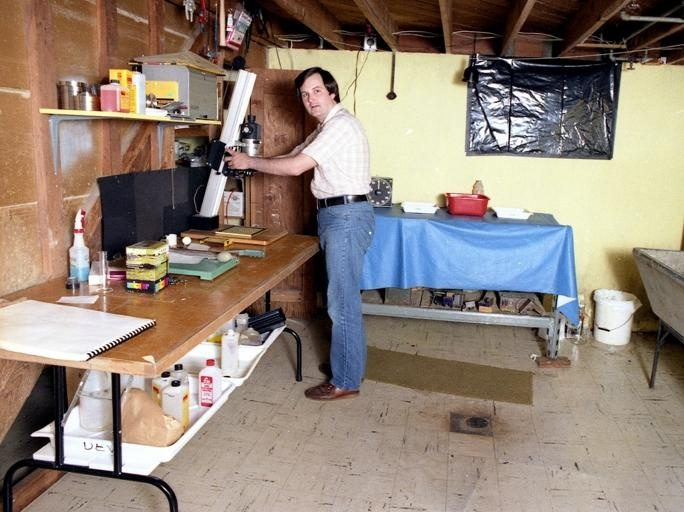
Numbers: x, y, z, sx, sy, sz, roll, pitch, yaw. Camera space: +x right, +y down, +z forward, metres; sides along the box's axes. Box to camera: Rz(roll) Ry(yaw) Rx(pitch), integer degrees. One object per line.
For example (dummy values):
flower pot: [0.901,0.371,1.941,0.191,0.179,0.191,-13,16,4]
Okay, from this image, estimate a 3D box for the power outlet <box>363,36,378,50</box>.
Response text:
power outlet: [0.247,-1.891,4.922,0.135,0.095,0.031,2,13,7]

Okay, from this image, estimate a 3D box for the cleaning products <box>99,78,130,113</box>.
cleaning products: [-1.078,-0.756,2.624,0.136,0.166,0.200,2,14,-1]

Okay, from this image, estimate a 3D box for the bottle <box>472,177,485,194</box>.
bottle: [1.183,-0.609,4.847,0.162,0.168,0.147,0,9,7]

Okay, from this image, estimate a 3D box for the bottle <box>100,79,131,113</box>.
bottle: [-1.076,-0.756,2.624,0.136,0.166,0.200,2,14,-1]

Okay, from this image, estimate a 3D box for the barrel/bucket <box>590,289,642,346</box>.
barrel/bucket: [2.241,0.517,4.598,0.435,0.370,0.378,4,13,21]

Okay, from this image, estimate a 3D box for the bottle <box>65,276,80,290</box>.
bottle: [-1.267,0.129,2.601,0.072,0.048,0.062,1,4,11]

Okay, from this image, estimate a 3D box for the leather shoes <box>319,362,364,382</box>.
leather shoes: [-0.050,0.802,3.899,0.372,0.117,0.111,8,12,14]

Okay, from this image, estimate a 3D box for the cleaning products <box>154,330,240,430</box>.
cleaning products: [-0.655,0.598,2.519,0.336,0.184,0.350,2,8,5]

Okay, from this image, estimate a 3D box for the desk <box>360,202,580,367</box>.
desk: [1.335,0.237,4.584,1.546,0.885,2.293,7,-3,-39]

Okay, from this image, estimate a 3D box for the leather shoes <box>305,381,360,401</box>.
leather shoes: [-0.077,0.882,3.611,0.360,0.096,0.113,3,0,-6]

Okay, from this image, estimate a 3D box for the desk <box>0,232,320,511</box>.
desk: [-0.903,0.569,2.631,0.741,0.350,1.531,3,10,10]
